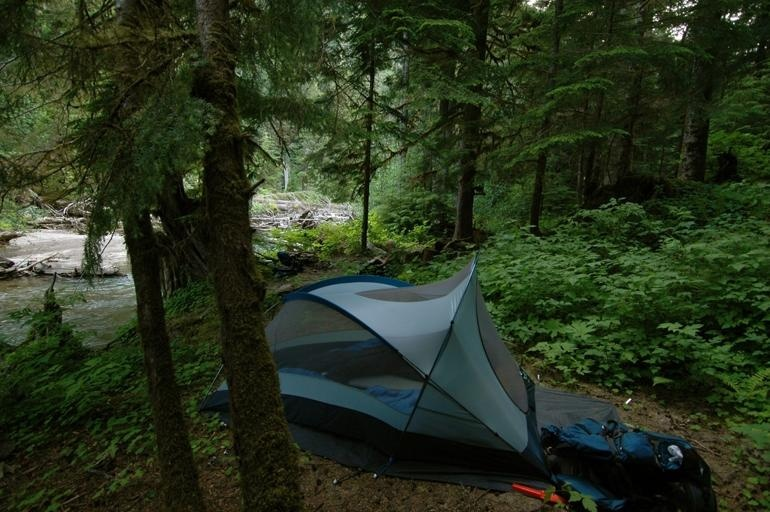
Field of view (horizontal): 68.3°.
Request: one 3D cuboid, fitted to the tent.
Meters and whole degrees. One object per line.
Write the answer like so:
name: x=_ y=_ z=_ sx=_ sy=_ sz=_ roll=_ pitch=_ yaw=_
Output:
tent: x=0.275 y=2.130 z=10.819 sx=5.317 sy=2.589 sz=3.761 roll=2 pitch=11 yaw=19
